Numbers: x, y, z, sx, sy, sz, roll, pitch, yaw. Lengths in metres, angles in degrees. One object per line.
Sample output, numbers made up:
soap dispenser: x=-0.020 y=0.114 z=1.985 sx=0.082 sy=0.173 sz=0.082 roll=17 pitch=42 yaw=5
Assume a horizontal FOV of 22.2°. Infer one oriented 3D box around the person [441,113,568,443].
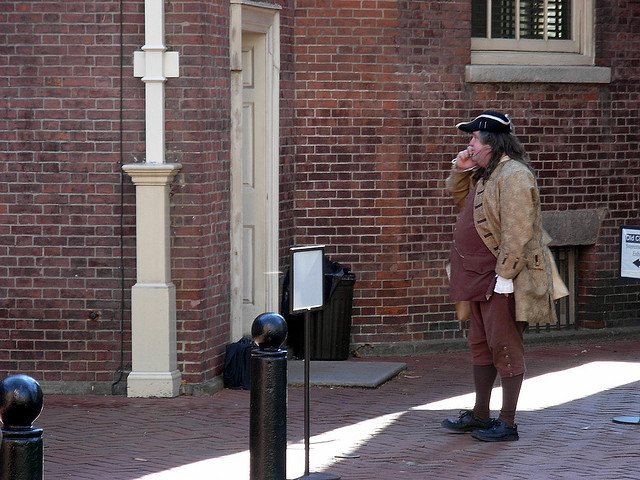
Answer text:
person: x=1.595 y=0.328 z=15.153 sx=1.040 sy=2.473 sz=1.528 roll=-5 pitch=1 yaw=-5
